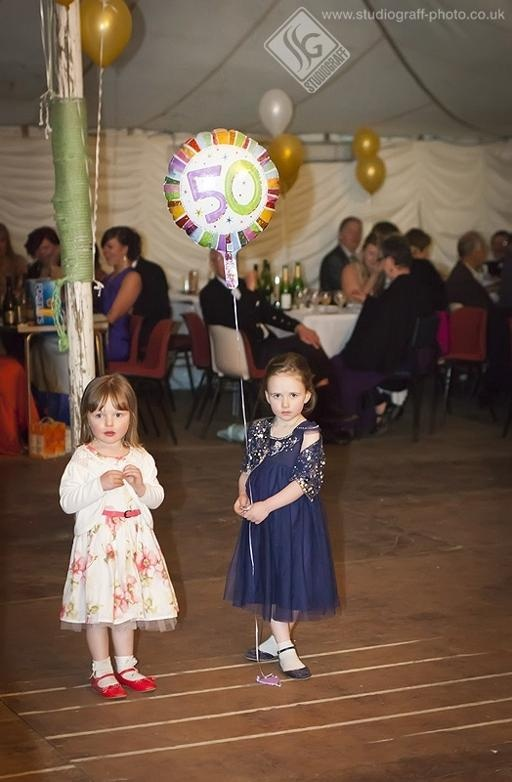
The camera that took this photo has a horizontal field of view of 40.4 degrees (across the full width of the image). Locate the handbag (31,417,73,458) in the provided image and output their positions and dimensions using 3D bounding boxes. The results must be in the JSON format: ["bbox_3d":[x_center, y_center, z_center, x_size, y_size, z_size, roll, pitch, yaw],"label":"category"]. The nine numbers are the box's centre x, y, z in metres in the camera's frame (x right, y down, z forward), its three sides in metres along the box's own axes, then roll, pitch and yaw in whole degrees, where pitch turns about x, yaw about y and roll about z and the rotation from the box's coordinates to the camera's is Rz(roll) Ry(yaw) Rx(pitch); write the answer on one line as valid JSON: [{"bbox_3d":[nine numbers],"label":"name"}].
[{"bbox_3d":[-1.282,0.289,4.474,0.266,0.322,0.253,2,2,-2],"label":"handbag"}]

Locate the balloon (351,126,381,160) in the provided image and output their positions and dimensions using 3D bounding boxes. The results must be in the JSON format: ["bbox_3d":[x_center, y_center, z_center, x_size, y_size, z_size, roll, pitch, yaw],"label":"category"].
[{"bbox_3d":[0.853,-1.941,5.474,0.241,0.266,0.172,-9,4,-10],"label":"balloon"}]

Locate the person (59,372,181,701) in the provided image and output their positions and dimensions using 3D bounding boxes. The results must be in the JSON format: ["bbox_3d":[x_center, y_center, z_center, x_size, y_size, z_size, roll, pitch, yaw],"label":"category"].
[{"bbox_3d":[-0.348,0.347,1.664,0.271,0.769,0.306,-4,8,-35],"label":"person"}]

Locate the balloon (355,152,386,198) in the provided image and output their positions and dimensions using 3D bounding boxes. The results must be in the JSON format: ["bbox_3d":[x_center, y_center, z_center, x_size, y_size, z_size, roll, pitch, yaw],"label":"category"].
[{"bbox_3d":[0.882,-1.681,5.382,0.266,0.300,0.264,-11,10,0],"label":"balloon"}]

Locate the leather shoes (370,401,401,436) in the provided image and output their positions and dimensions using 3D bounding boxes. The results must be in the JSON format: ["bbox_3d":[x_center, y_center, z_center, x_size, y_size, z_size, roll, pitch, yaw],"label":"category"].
[{"bbox_3d":[0.891,0.166,4.824,0.101,0.298,0.124,25,4,9],"label":"leather shoes"}]

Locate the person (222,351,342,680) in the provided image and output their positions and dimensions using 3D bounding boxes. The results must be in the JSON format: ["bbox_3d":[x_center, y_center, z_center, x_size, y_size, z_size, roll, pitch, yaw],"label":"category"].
[{"bbox_3d":[0.062,0.313,1.788,0.264,0.817,0.315,-1,7,-12],"label":"person"}]
